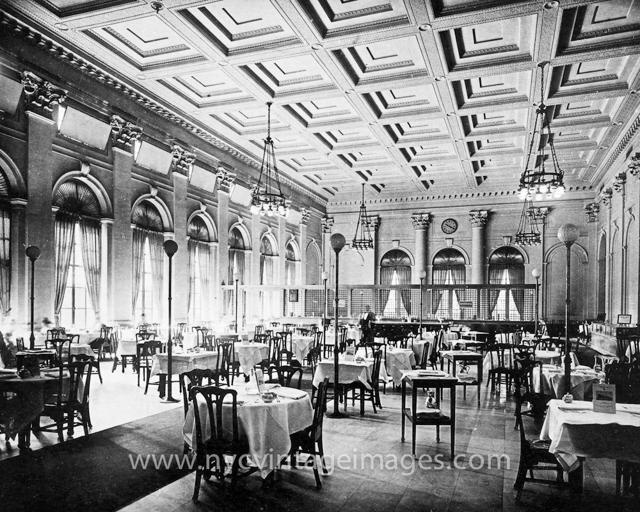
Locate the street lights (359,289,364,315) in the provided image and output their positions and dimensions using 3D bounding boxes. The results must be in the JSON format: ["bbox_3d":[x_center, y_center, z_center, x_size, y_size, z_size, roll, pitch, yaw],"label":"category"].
[{"bbox_3d":[2.051,2.178,26.170,0.220,1.029,0.416,1,3,4],"label":"street lights"}]

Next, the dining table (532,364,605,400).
[{"bbox_3d":[4.521,2.192,9.935,1.077,0.425,1.269,-4,-9,20],"label":"dining table"}]
